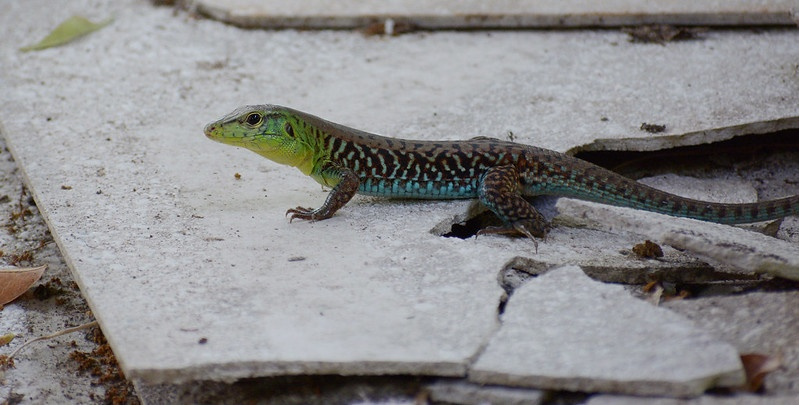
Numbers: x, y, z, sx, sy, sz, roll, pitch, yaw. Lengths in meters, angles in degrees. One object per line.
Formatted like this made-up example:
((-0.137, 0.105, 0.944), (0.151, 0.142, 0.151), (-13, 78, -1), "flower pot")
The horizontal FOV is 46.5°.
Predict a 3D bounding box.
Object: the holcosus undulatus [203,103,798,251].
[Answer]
((0.656, -0.214, 9.193), (5.211, 0.525, 0.929), (7, 71, 1), "holcosus undulatus")
